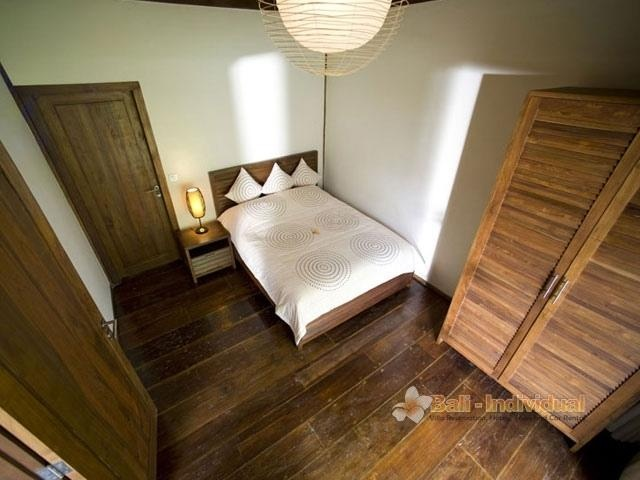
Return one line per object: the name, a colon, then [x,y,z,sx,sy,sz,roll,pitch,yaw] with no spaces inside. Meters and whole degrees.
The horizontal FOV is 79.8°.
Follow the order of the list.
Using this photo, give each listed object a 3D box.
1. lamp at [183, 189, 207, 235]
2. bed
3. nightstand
lamp: [-1.452,-0.370,4.533,0.206,0.538,0.322,-14,33,-17]
bed: [-0.151,-0.145,4.568,1.692,1.253,2.260,-20,36,-25]
nightstand: [-1.315,0.140,4.593,0.601,0.609,0.645,-23,47,-25]
